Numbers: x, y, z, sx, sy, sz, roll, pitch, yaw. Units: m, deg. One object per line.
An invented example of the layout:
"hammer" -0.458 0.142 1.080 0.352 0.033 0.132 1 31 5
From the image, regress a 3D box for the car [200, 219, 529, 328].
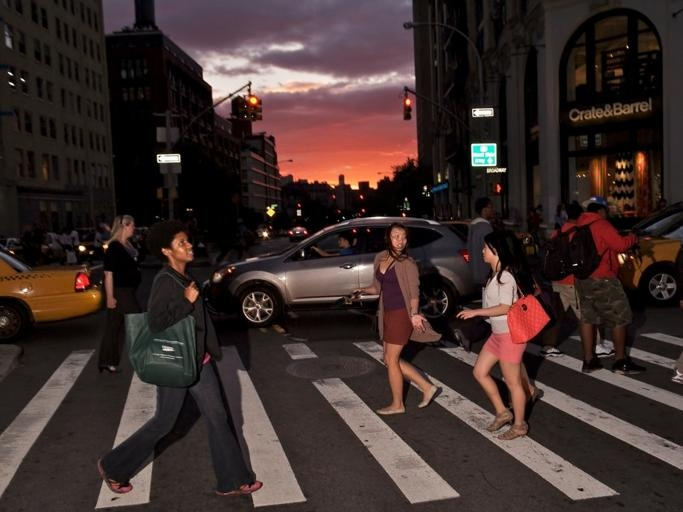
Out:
"car" -0.043 0.350 12.078 5.394 2.153 2.416 2 -3 1

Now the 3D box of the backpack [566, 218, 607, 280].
"backpack" 3.336 -0.062 7.675 0.466 0.751 0.322 2 5 34

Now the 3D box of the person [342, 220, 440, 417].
"person" 0.726 0.714 6.456 0.719 2.169 0.634 -1 4 2

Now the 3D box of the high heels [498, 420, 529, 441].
"high heels" 1.744 1.777 5.661 0.333 0.154 0.132 -5 1 -8

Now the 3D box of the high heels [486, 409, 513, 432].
"high heels" 1.681 1.744 5.864 0.280 0.153 0.098 -30 4 -6

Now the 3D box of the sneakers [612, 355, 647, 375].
"sneakers" 4.008 1.504 7.725 0.392 0.205 0.217 -3 3 -3

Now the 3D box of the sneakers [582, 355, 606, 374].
"sneakers" 3.602 1.536 7.921 0.415 0.191 0.145 -11 9 -36

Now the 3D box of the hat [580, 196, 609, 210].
"hat" 3.730 -0.794 8.130 0.261 0.170 0.579 0 5 20

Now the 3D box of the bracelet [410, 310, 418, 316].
"bracelet" 0.807 0.641 6.198 0.110 0.065 0.080 1 5 22

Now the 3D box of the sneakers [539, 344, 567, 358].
"sneakers" 3.300 1.488 8.687 0.336 0.174 0.150 -1 4 4

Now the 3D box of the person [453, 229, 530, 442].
"person" 1.625 0.786 5.727 0.580 2.086 0.839 0 5 19

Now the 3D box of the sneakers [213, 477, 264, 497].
"sneakers" -0.855 1.905 4.593 0.380 0.138 0.148 -4 -3 -8

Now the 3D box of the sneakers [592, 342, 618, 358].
"sneakers" 4.157 1.488 8.788 0.213 0.288 0.645 -8 -15 37

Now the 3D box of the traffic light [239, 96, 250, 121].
"traffic light" -4.065 -6.157 23.384 0.218 0.810 0.543 -1 -3 42

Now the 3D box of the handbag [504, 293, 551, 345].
"handbag" 1.837 0.620 5.423 0.413 0.490 0.212 0 5 14
